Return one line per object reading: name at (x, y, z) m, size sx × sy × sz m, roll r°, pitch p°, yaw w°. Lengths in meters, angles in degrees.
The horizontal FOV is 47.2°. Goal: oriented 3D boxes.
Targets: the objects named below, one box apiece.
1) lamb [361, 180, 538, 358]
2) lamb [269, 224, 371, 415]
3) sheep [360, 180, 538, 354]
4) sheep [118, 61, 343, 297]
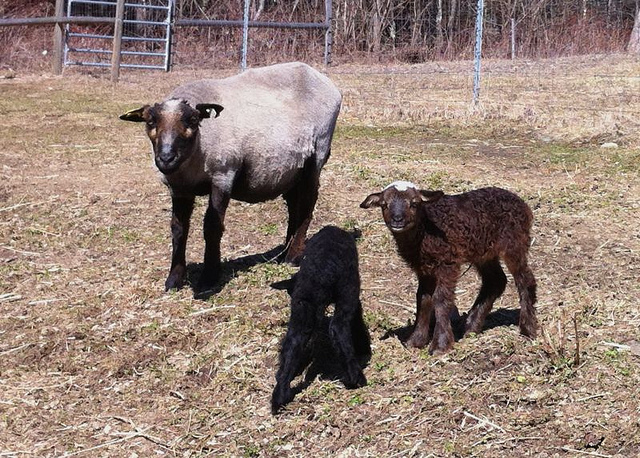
lamb at (1.459, 0.417, 8.031) m, size 2.190 × 1.746 × 0.897 m, roll -1°, pitch 2°, yaw -30°
lamb at (0.062, 0.926, 7.698) m, size 0.969 × 1.604 × 1.914 m, roll 6°, pitch 17°, yaw 17°
sheep at (1.446, 0.394, 8.052) m, size 2.175 × 1.803 × 0.816 m, roll -2°, pitch 4°, yaw -29°
sheep at (-1.096, -0.790, 9.805) m, size 1.398 × 2.683 × 4.215 m, roll 11°, pitch 18°, yaw 29°
